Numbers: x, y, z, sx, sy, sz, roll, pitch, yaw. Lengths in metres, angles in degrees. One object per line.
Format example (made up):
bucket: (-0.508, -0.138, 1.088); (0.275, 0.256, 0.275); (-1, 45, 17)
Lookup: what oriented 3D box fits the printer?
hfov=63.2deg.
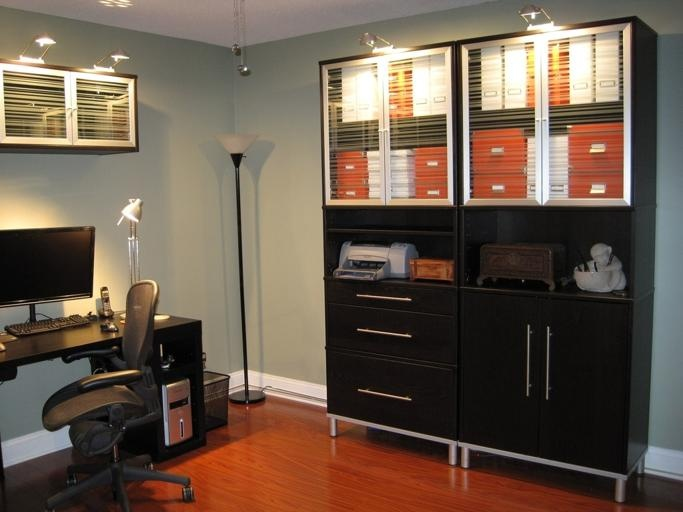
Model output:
printer: (0.250, 0.019, 4.290); (0.594, 0.251, 0.594); (5, 17, 35)

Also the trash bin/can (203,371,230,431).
trash bin/can: (-1.008, 1.251, 4.674); (0.315, 0.374, 0.336); (-3, -21, -4)

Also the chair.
chair: (-1.411, 0.889, 3.419); (0.851, 1.384, 0.705); (-6, 12, -28)

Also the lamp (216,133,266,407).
lamp: (-0.902, 0.114, 5.020); (0.321, 2.381, 0.812); (-2, 11, -9)

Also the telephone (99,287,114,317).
telephone: (-1.803, 0.364, 4.248); (0.097, 0.282, 0.068); (-7, -17, -5)

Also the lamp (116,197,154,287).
lamp: (-1.629, -0.094, 4.320); (0.199, 0.696, 0.615); (-5, 11, -21)

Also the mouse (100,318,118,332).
mouse: (-1.629, 0.488, 3.882); (0.127, 0.049, 0.082); (11, 16, 42)
